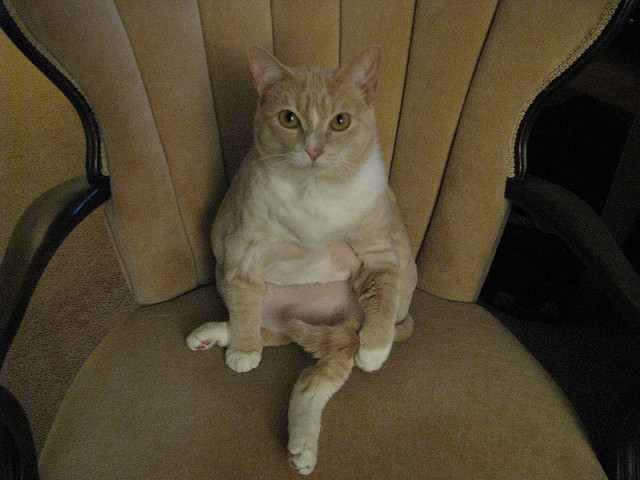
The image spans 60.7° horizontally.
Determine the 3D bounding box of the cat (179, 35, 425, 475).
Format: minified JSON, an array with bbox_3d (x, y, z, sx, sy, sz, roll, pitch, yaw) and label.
[{"bbox_3d":[-0.020,-0.064,1.411,0.564,0.944,0.908,2,36,2],"label":"cat"}]
